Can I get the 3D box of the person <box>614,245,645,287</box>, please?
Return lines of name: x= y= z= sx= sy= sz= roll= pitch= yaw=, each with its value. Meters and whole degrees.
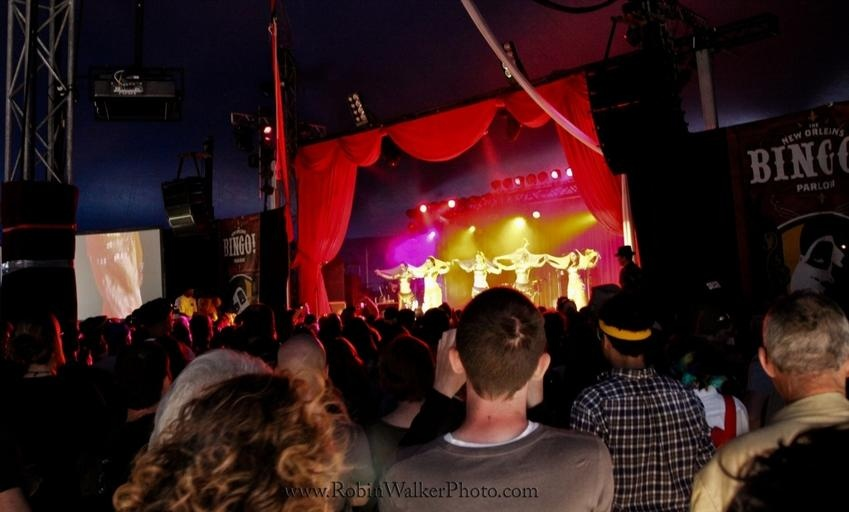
person: x=3.101 y=0.147 z=9.743 sx=0.332 sy=0.652 sz=1.158 roll=-6 pitch=-2 yaw=16

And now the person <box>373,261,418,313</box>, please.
person: x=-0.841 y=0.929 z=18.933 sx=1.194 sy=1.211 sz=0.359 roll=-17 pitch=-45 yaw=6

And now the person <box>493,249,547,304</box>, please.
person: x=2.504 y=0.442 z=16.119 sx=1.333 sy=1.772 sz=0.466 roll=-13 pitch=-41 yaw=30

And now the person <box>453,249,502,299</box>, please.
person: x=1.490 y=0.480 z=17.960 sx=1.545 sy=1.687 sz=0.490 roll=-6 pitch=-47 yaw=24
